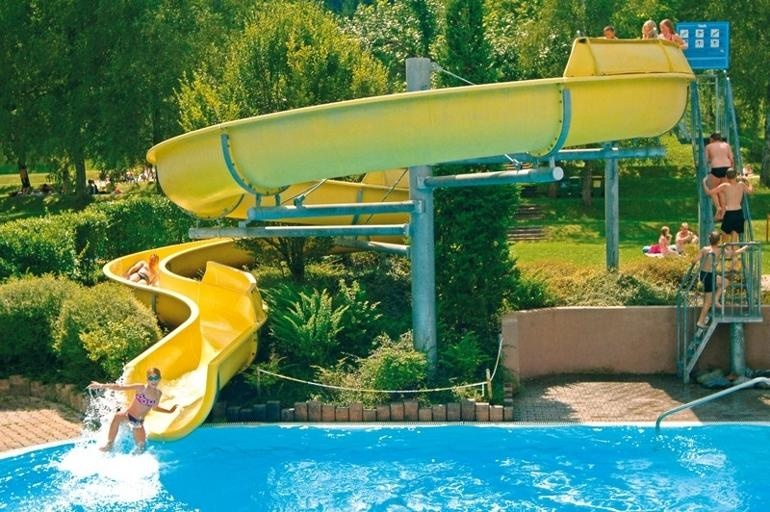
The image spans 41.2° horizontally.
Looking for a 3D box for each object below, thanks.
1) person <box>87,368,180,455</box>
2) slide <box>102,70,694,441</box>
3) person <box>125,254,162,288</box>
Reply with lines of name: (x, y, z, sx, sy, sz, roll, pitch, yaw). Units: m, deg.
person: (-5.172, 3.284, 21.100, 1.184, 1.582, 0.765, 17, -13, -17)
slide: (0.358, -1.099, 23.172, 10.100, 6.087, 8.564, -3, 3, -8)
person: (-6.580, 0.456, 27.812, 0.800, 0.315, 0.846, -5, 14, 29)
